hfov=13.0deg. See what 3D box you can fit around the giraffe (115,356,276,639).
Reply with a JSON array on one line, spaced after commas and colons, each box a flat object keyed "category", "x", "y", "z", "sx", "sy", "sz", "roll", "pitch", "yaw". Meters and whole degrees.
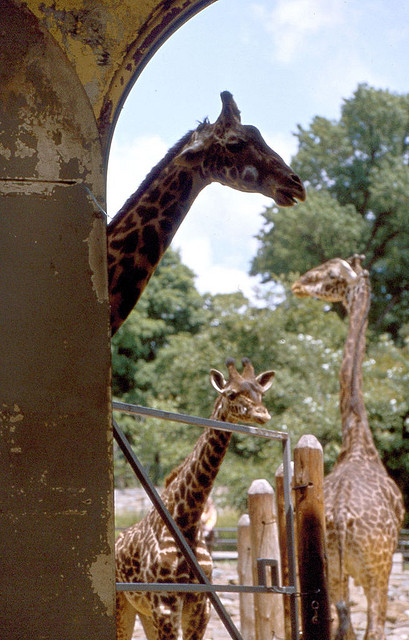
[{"category": "giraffe", "x": -0.075, "y": 1.029, "z": 10.396, "sx": 0.847, "sy": 1.691, "sz": 0.996, "roll": 1, "pitch": -6, "yaw": -3}]
